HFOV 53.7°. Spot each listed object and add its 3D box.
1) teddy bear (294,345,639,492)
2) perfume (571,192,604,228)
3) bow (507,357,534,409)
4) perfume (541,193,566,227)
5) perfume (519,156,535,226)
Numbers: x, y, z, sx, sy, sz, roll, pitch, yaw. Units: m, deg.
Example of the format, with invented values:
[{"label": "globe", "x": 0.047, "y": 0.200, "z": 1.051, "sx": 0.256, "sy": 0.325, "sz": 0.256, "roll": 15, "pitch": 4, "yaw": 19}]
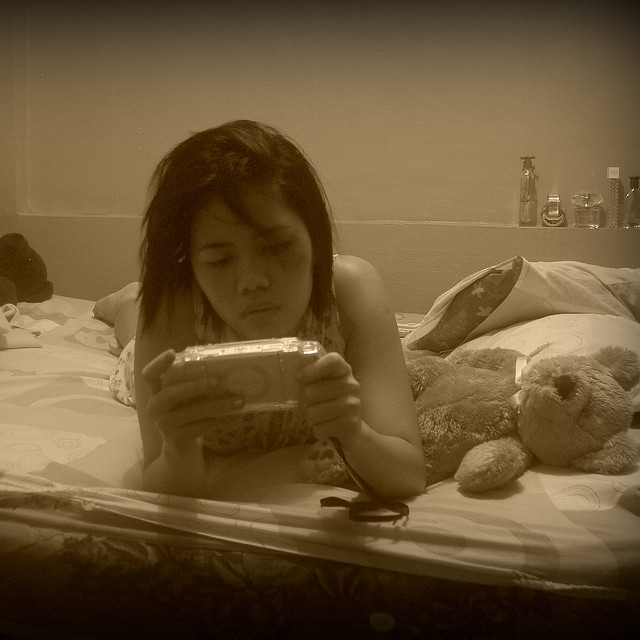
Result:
[{"label": "teddy bear", "x": 0.170, "y": 0.111, "z": 0.721, "sx": 0.286, "sy": 0.090, "sz": 0.198, "roll": -6, "pitch": 32, "yaw": 22}, {"label": "perfume", "x": 0.270, "y": -0.109, "z": 0.638, "sx": 0.033, "sy": 0.030, "sz": 0.029, "roll": -1, "pitch": 26, "yaw": 16}, {"label": "bow", "x": 0.233, "y": 0.065, "z": 0.739, "sx": 0.035, "sy": 0.074, "sz": 0.022, "roll": 9, "pitch": -23, "yaw": 4}, {"label": "perfume", "x": 0.236, "y": -0.108, "z": 0.638, "sx": 0.020, "sy": 0.027, "sz": 0.029, "roll": 1, "pitch": 12, "yaw": 12}, {"label": "perfume", "x": 0.200, "y": -0.126, "z": 0.610, "sx": 0.014, "sy": 0.056, "sz": 0.038, "roll": -1, "pitch": 6, "yaw": 17}]
